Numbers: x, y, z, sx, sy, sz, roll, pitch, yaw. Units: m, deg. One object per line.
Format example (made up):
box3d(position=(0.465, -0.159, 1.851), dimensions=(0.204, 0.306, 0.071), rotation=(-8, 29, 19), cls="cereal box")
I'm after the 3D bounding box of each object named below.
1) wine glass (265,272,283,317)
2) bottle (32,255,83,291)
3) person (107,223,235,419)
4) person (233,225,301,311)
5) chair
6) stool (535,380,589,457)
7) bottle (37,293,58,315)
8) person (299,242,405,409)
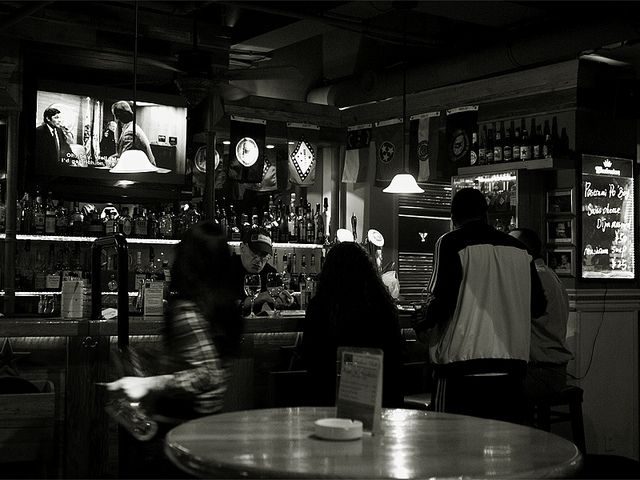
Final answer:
box3d(position=(-0.350, 0.419, 5.589), dimensions=(0.119, 0.343, 0.258), rotation=(0, 10, -4), cls="wine glass")
box3d(position=(-2.926, 0.367, 7.920), dimensions=(0.431, 0.463, 0.444), rotation=(0, -6, -6), cls="bottle")
box3d(position=(-0.672, 0.451, 3.519), dimensions=(0.563, 1.050, 0.310), rotation=(-1, 10, -8), cls="person")
box3d(position=(-0.509, 0.308, 6.568), dimensions=(0.478, 0.873, 1.036), rotation=(-5, 6, -38), cls="person")
box3d(position=(1.082, 1.016, 4.726), dimensions=(0.574, 0.446, 0.624), rotation=(-4, -13, 17), cls="chair")
box3d(position=(1.924, 1.473, 5.626), dimensions=(0.469, 0.570, 0.451), rotation=(-8, -1, 30), cls="stool")
box3d(position=(-2.547, 0.604, 6.624), dimensions=(0.118, 0.219, 0.220), rotation=(-3, -5, 34), cls="bottle")
box3d(position=(0.224, 0.679, 4.545), dimensions=(0.573, 1.298, 0.586), rotation=(7, 21, 28), cls="person")
